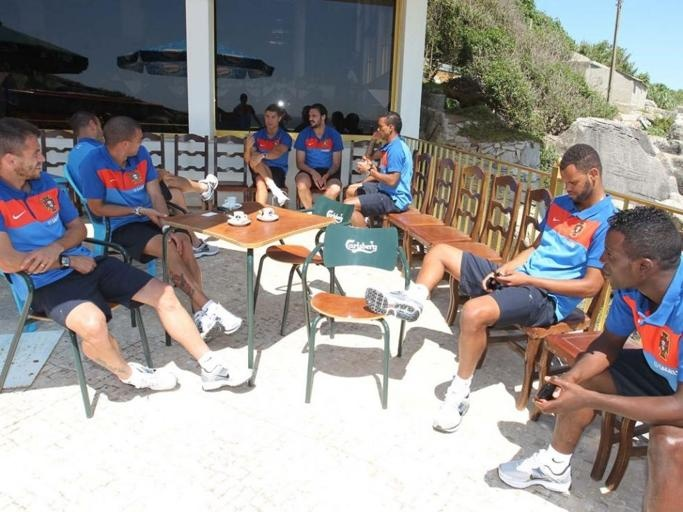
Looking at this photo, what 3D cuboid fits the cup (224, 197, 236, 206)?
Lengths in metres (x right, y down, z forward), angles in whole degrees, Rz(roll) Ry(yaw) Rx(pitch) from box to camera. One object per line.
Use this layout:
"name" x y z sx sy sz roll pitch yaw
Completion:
"cup" -0.936 -0.464 4.371 0.080 0.073 0.099 -6 10 -44

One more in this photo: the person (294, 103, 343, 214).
"person" -0.315 -1.266 6.779 0.630 1.405 0.975 3 16 -3

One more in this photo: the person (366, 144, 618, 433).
"person" 0.994 0.159 3.467 1.549 1.749 0.868 -4 24 -10

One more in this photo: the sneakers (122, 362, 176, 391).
"sneakers" -1.292 0.826 3.544 0.383 0.148 0.177 8 31 -28

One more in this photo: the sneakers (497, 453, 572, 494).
"sneakers" 1.065 1.198 2.987 0.439 0.211 0.200 4 25 10

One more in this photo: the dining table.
"dining table" -0.662 0.285 4.394 1.265 1.177 1.259 13 21 30

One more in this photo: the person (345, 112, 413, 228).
"person" 0.415 -0.858 5.934 0.838 1.510 0.726 7 17 26

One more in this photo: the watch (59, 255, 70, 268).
"watch" -1.774 0.042 3.302 0.074 0.079 0.052 8 11 42

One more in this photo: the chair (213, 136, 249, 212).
"chair" -1.623 -1.129 7.604 0.643 1.098 0.717 0 -1 -22

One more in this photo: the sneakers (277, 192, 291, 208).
"sneakers" -0.695 -0.691 6.122 0.104 0.120 0.300 -3 16 -13

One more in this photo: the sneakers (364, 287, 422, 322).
"sneakers" 0.336 0.313 3.450 0.366 0.165 0.197 20 -15 -19

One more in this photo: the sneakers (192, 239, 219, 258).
"sneakers" -1.586 -0.088 5.947 0.147 0.172 0.386 18 18 37

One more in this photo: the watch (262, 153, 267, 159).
"watch" -0.997 -1.288 6.671 0.067 0.064 0.115 2 16 -8

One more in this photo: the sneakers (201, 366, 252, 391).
"sneakers" -0.805 0.822 3.601 0.370 0.168 0.160 -3 7 -17

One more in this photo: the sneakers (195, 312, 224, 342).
"sneakers" -1.066 0.547 4.016 0.181 0.145 0.369 31 -9 -3

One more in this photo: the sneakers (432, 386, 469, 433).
"sneakers" 0.708 0.991 3.322 0.169 0.202 0.472 -19 -7 30

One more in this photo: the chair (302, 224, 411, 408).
"chair" 0.089 0.404 3.591 0.765 1.019 0.743 0 22 -1

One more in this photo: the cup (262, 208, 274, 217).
"cup" -0.598 -0.358 4.203 0.085 0.065 0.065 5 15 18
